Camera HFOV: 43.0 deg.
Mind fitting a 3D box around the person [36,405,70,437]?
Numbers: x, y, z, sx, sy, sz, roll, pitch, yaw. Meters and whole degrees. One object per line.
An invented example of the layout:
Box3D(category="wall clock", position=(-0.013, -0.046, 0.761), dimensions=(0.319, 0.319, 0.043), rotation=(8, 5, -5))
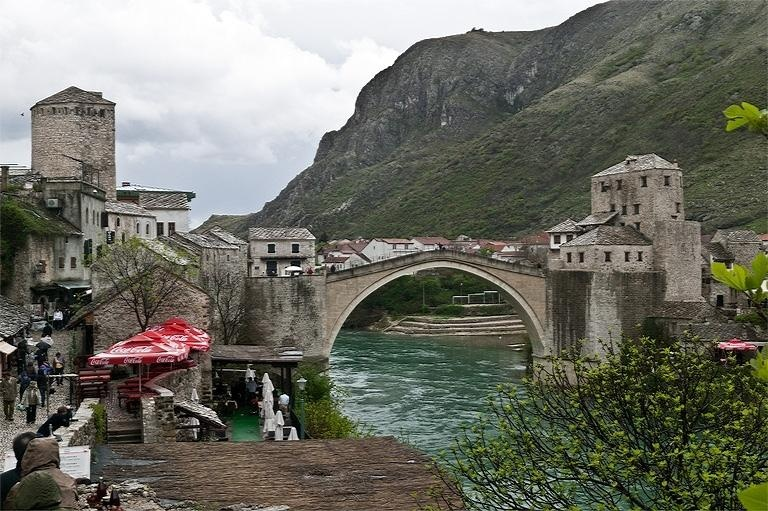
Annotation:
Box3D(category="person", position=(-11.626, 5.883, 34.636), dimensions=(0.991, 0.988, 2.116), rotation=(2, -6, -15))

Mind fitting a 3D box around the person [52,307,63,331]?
Box3D(category="person", position=(-18.885, 3.771, 56.607), dimensions=(0.526, 1.057, 1.350), rotation=(3, -7, -18))

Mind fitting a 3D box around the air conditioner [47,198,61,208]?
Box3D(category="air conditioner", position=(-21.956, -3.514, 65.157), dimensions=(1.049, 0.409, 0.779), rotation=(-1, -2, -1))
